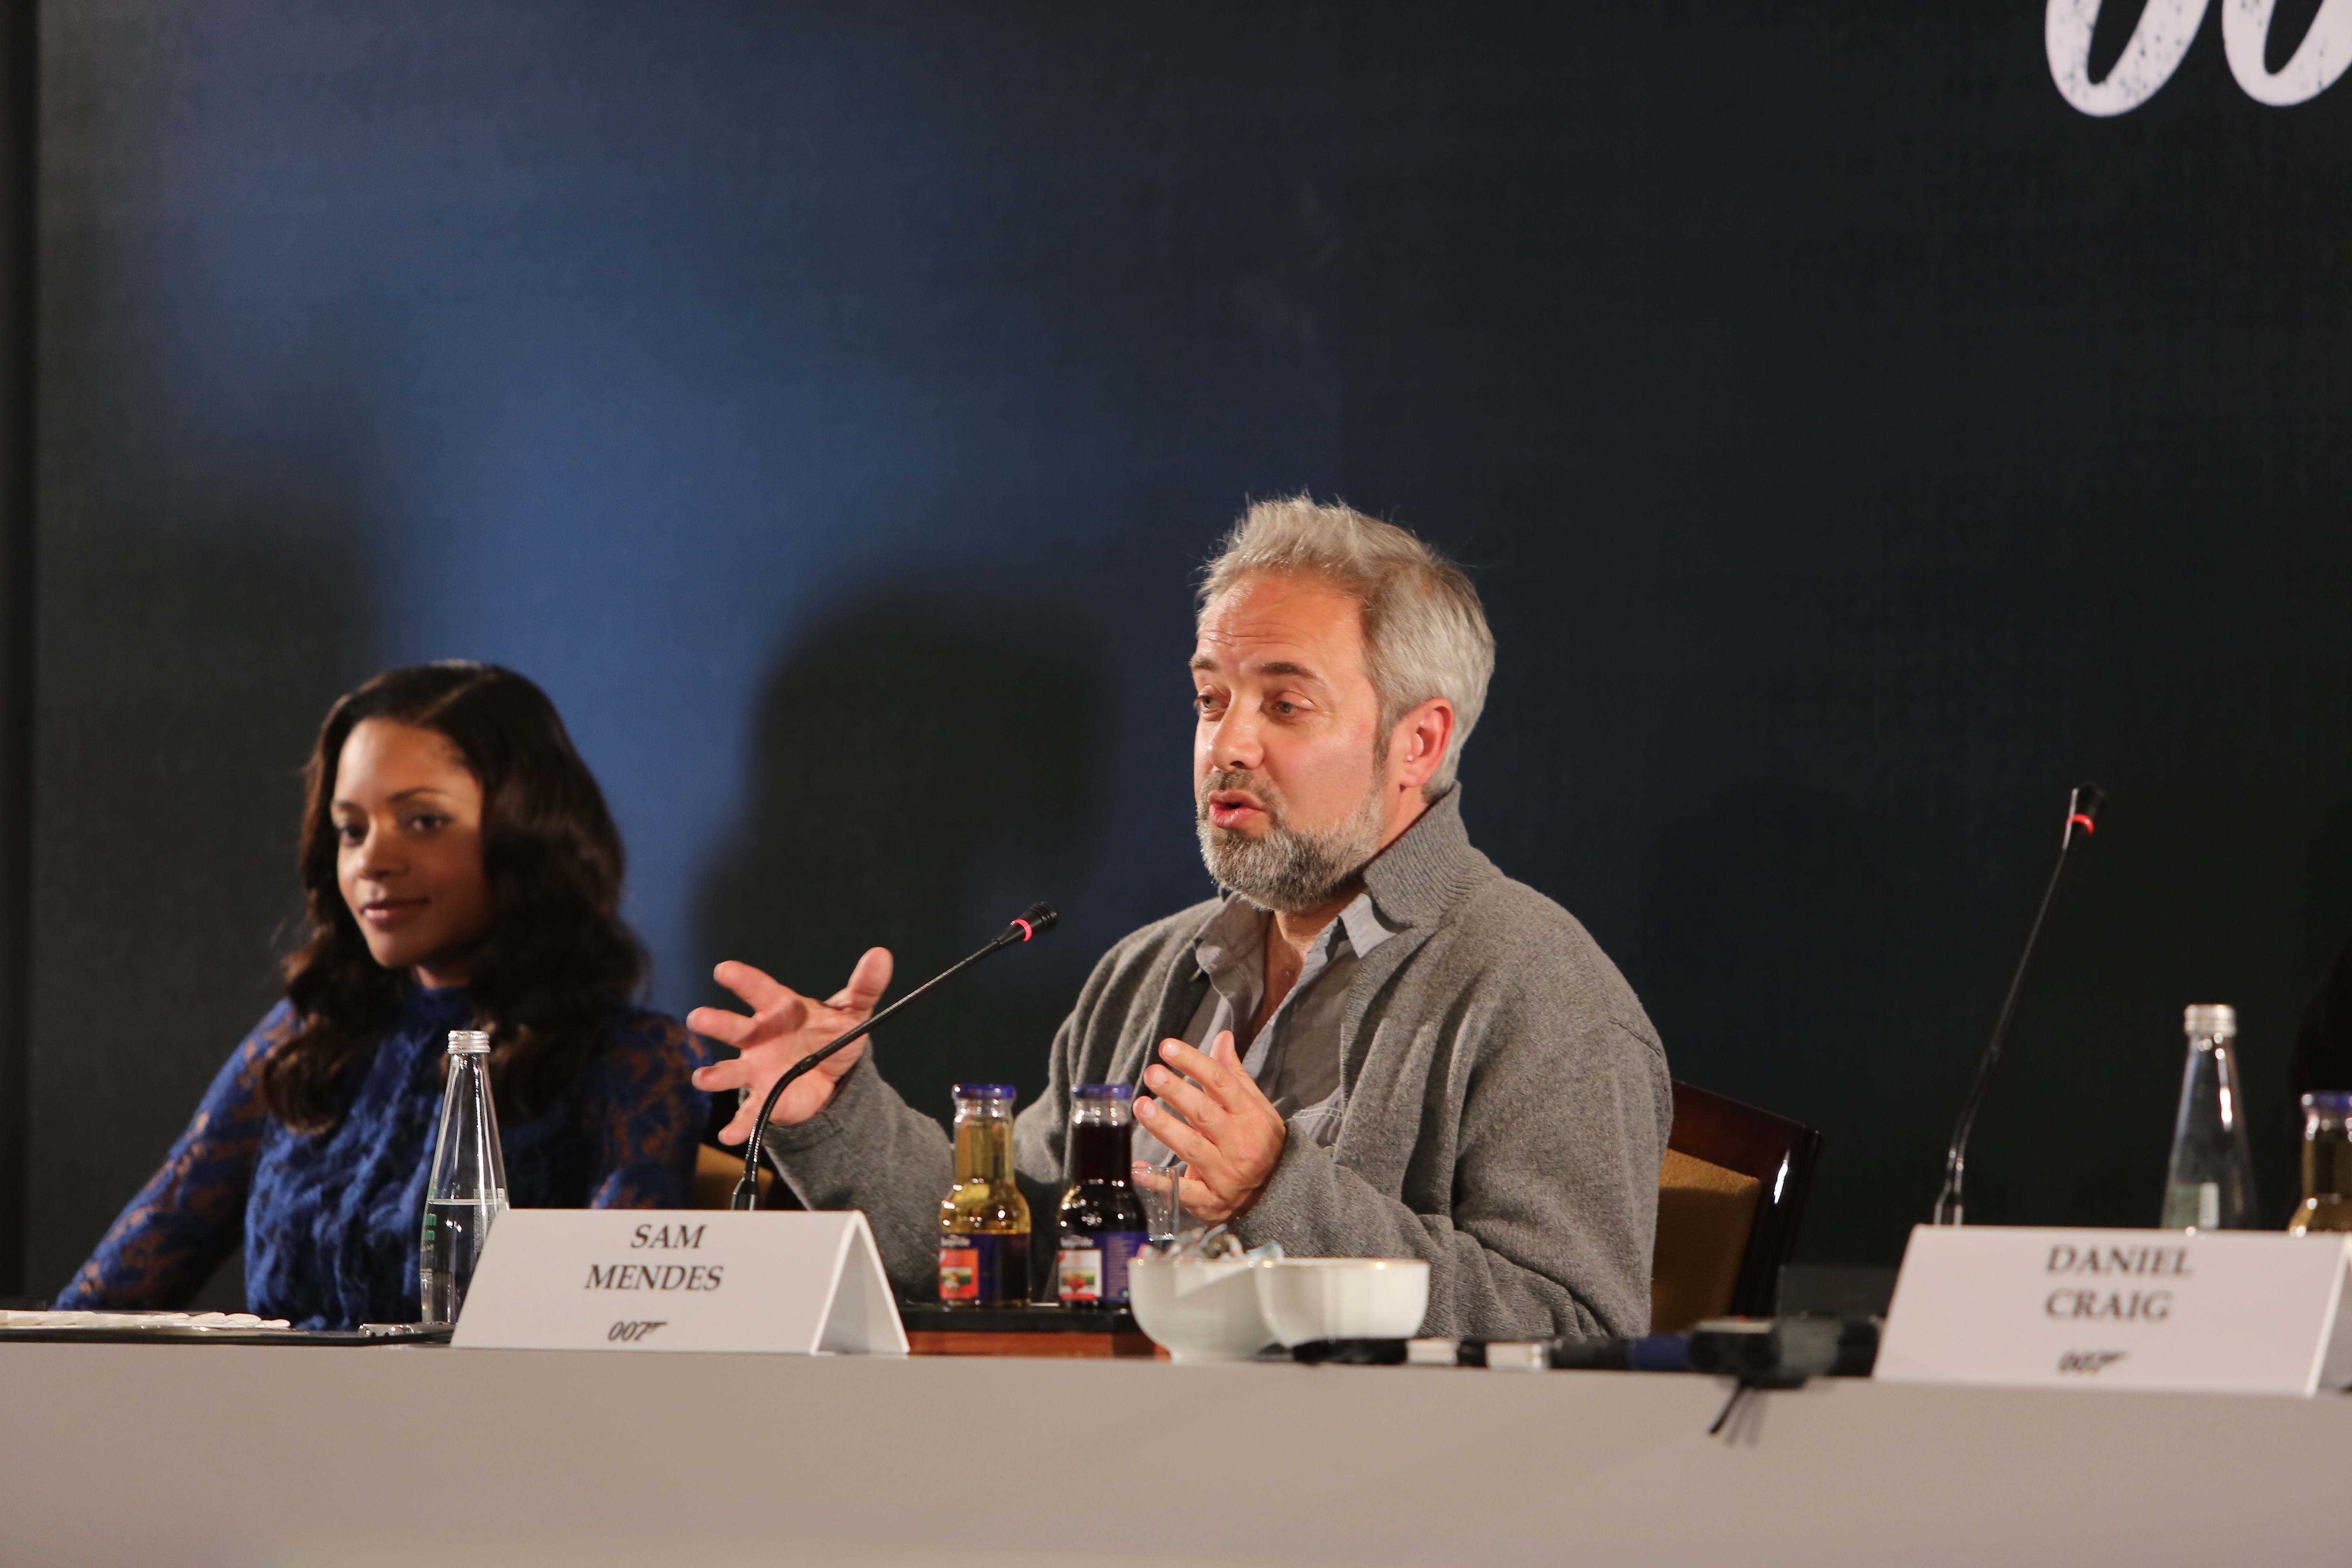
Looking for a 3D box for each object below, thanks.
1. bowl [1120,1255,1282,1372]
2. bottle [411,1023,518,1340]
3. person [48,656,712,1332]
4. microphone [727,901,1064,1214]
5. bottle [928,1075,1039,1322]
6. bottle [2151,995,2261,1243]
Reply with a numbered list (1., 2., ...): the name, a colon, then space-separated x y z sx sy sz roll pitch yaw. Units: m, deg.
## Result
1. bowl: 0.025 0.594 2.999 0.128 0.083 0.121 0 -8 0
2. bottle: -0.893 0.494 3.390 0.093 0.364 0.275 5 -7 -14
3. person: -1.437 0.399 4.907 1.155 1.523 0.849 -6 -16 20
4. microphone: -0.444 0.470 4.599 0.745 0.073 0.140 -38 -65 17
5. bottle: -0.237 0.523 3.398 0.114 0.278 0.280 4 -7 -4
6. bottle: 1.292 0.410 3.349 0.105 0.291 0.524 1 -8 21
